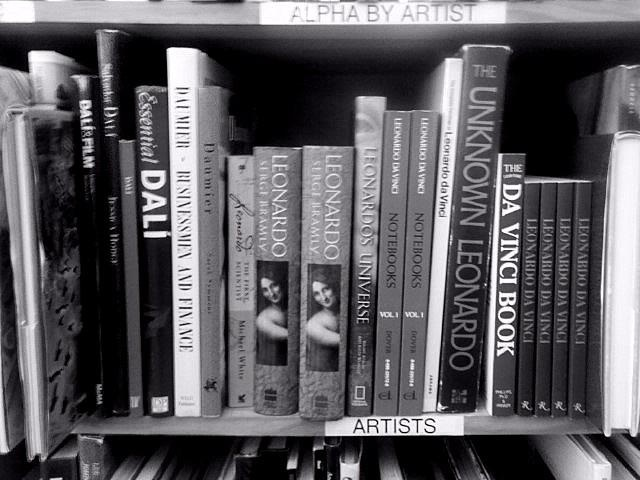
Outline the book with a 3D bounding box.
[{"bbox_3d":[-0.011,0.032,1.415,0.488,0.722,0.827,0,6,2],"label":"book"}]
